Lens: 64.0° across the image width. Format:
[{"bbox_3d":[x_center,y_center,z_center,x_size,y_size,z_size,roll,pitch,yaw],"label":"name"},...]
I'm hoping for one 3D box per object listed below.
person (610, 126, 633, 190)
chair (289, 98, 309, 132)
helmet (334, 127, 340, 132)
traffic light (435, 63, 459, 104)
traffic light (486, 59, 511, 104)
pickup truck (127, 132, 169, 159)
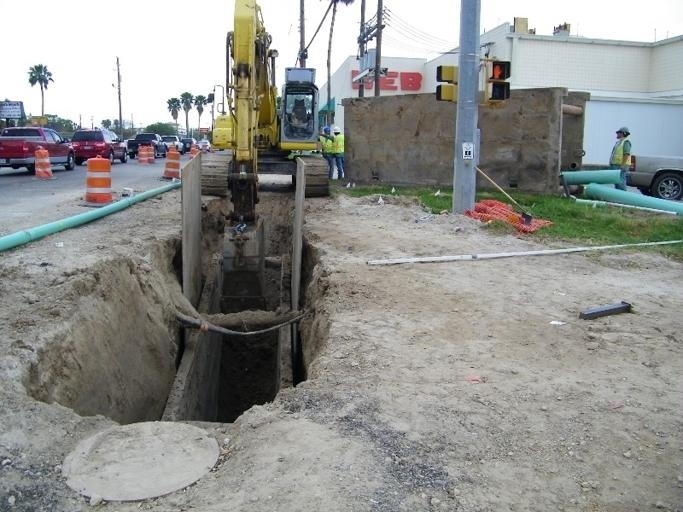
[{"bbox_3d":[8.099,-2.840,15.834,0.463,1.746,0.791,5,13,25],"label":"person"},{"bbox_3d":[-1.277,-4.315,16.425,0.671,0.931,0.652,1,22,-13],"label":"chair"},{"bbox_3d":[-0.188,-4.665,20.162,0.254,0.196,0.353,0,12,1],"label":"helmet"},{"bbox_3d":[2.652,-4.365,13.675,0.495,0.967,1.552,1,12,10],"label":"traffic light"},{"bbox_3d":[3.883,-4.354,13.518,0.538,1.065,2.187,2,12,16],"label":"traffic light"},{"bbox_3d":[-13.104,-7.658,37.431,1.508,1.207,3.069,2,16,2],"label":"pickup truck"}]
